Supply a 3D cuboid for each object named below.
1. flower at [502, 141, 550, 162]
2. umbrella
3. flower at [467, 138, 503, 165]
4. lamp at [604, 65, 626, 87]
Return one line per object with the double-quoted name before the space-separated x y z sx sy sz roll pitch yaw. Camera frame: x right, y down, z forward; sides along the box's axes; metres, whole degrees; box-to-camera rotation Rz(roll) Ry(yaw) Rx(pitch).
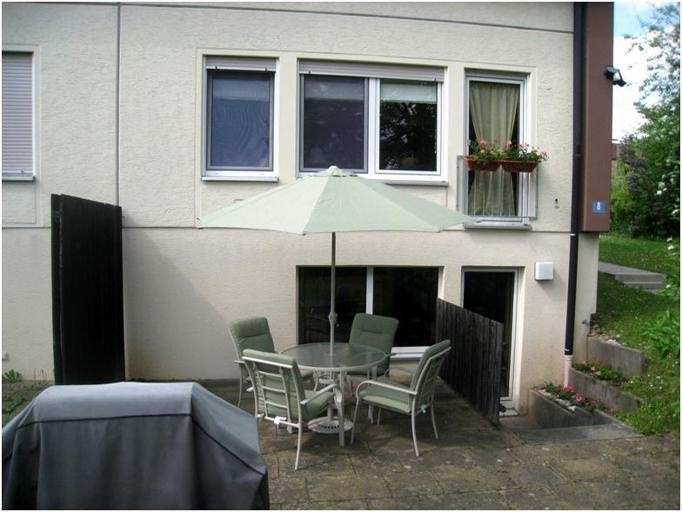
"flower" 2.938 -1.659 10.196 0.451 0.167 0.474 -1 4 -7
"umbrella" -0.194 0.483 8.946 3.269 2.367 3.307 1 1 15
"flower" 2.320 -1.661 10.173 0.412 0.347 0.480 4 6 31
"lamp" 4.443 -2.925 10.216 0.348 0.332 0.164 -4 7 -18
